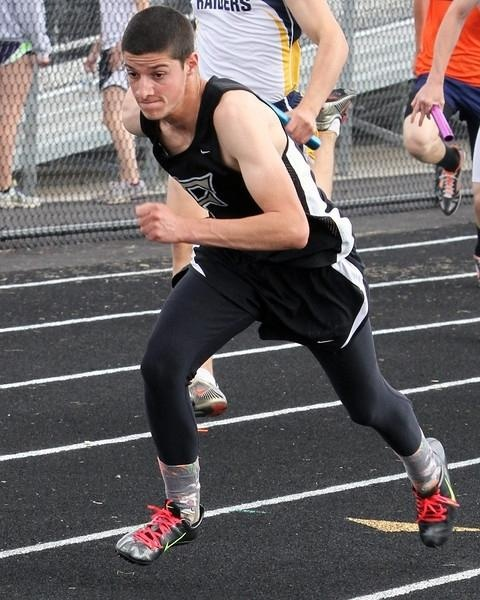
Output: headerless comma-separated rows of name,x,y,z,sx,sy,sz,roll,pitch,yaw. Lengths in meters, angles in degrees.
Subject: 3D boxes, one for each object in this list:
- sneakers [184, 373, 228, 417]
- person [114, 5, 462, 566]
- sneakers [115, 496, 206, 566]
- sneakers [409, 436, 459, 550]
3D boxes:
sneakers,-0.156,0.380,2.525,0.108,0.131,0.288,-36,-15,0
person,0.090,0.025,1.468,0.744,1.337,0.439,1,14,14
sneakers,-0.200,0.564,1.629,0.098,0.117,0.276,37,26,23
sneakers,0.499,0.536,1.772,0.119,0.320,0.144,-17,-24,28
